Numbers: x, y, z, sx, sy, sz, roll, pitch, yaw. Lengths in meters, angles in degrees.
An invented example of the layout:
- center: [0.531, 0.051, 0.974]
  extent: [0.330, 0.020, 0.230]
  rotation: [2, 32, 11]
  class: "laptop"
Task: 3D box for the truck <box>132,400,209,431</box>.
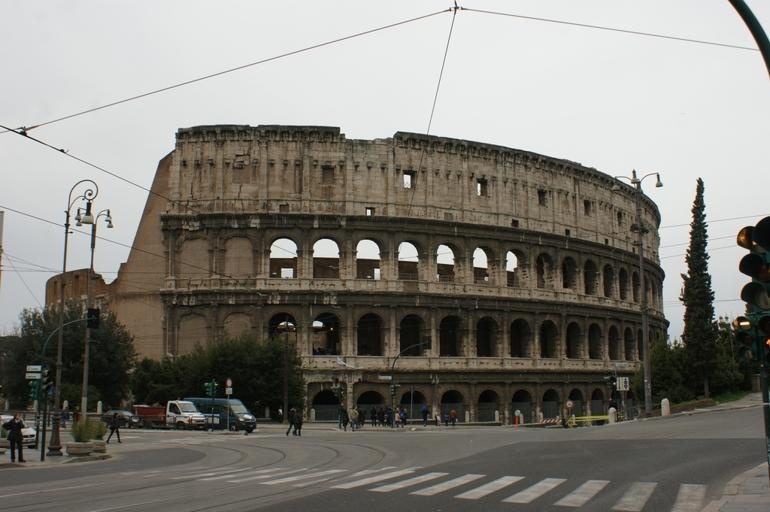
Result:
- center: [-15.413, 11.724, 84.092]
  extent: [5.745, 1.931, 2.117]
  rotation: [-8, -14, 33]
  class: "truck"
